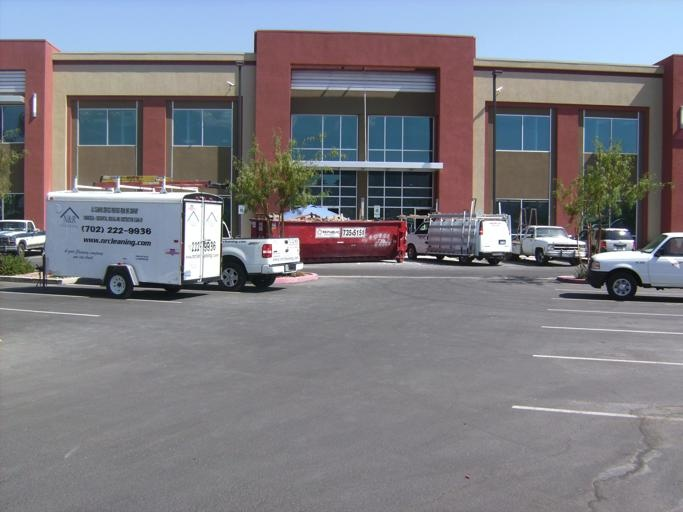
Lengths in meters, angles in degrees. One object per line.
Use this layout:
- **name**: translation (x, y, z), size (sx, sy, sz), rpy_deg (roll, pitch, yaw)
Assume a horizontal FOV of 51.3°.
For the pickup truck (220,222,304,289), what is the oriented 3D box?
- **pickup truck**: translation (-2.496, 0.064, 21.076), size (2.501, 1.481, 1.413), rpy_deg (4, 4, 24)
